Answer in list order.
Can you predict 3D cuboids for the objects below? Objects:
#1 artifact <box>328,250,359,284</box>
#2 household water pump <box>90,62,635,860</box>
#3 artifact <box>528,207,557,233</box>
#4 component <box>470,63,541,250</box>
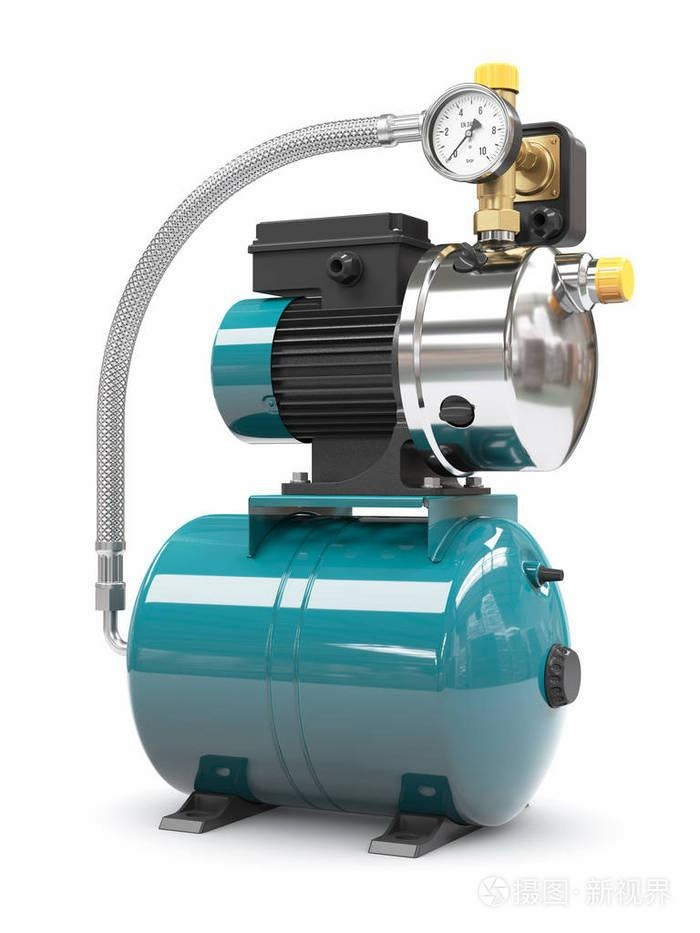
[{"bbox_3d":[-0.016,-0.575,2.876,0.108,0.100,0.059,4,3,28],"label":"artifact"},{"bbox_3d":[0.059,0.021,2.857,1.674,2.048,0.845,-19,-31,31],"label":"household water pump"},{"bbox_3d":[0.558,-0.713,2.880,0.079,0.074,0.043,3,7,31],"label":"artifact"},{"bbox_3d":[0.405,-0.849,2.764,0.155,0.449,0.465,-5,-26,7],"label":"component"}]
